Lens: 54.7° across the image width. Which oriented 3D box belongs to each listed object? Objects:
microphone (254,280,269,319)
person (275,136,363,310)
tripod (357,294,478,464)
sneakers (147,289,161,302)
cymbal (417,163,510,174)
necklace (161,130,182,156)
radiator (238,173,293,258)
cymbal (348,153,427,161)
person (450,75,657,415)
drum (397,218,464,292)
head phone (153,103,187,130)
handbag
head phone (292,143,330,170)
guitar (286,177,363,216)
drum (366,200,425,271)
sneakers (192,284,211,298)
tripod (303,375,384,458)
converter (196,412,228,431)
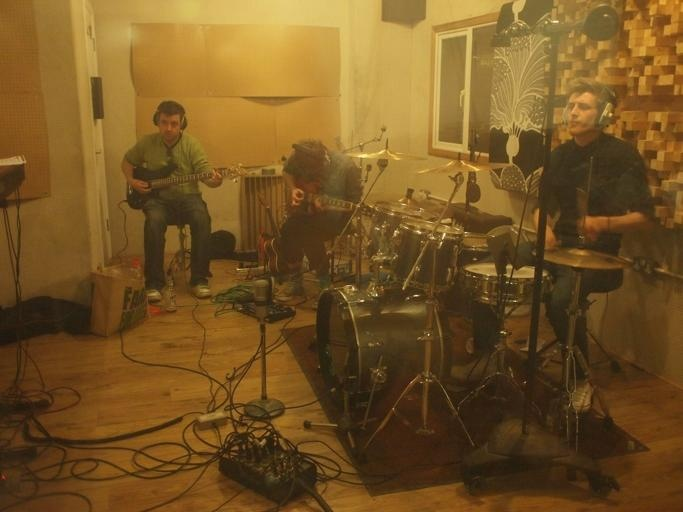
[{"bbox_3d":[-0.474,0.266,3.970,0.091,0.282,0.170,2,14,-5],"label":"microphone"},{"bbox_3d":[-0.214,-0.425,5.838,0.754,1.460,0.660,-26,49,-30],"label":"person"},{"bbox_3d":[0.574,0.683,3.924,0.662,0.852,0.508,7,-5,-40],"label":"tripod"},{"bbox_3d":[-1.646,0.346,5.808,0.117,0.090,0.173,-1,15,-16],"label":"sneakers"},{"bbox_3d":[0.968,-0.666,5.036,0.375,0.096,0.382,-3,9,-11],"label":"cymbal"},{"bbox_3d":[-1.572,-1.050,6.165,0.162,0.225,0.084,2,14,-3],"label":"necklace"},{"bbox_3d":[-0.869,-0.443,6.947,0.587,0.875,0.303,1,7,-4],"label":"radiator"},{"bbox_3d":[0.414,-0.887,5.914,0.351,0.079,0.346,-8,12,-42],"label":"cymbal"},{"bbox_3d":[1.571,-0.111,4.565,1.038,2.143,0.928,8,18,34],"label":"person"},{"bbox_3d":[0.505,-0.022,3.886,0.377,0.373,0.386,11,14,9],"label":"drum"},{"bbox_3d":[-1.591,-1.308,6.123,0.271,0.243,0.305,-2,15,-18],"label":"head phone"},{"bbox_3d":[-1.796,0.375,5.350,0.300,0.490,0.548,5,4,14],"label":"handbag"},{"bbox_3d":[-0.249,-0.835,5.377,0.239,0.091,0.187,25,1,-18],"label":"head phone"},{"bbox_3d":[-0.168,-0.502,5.473,0.500,0.253,0.334,10,-3,3],"label":"guitar"},{"bbox_3d":[0.363,-0.140,4.495,0.394,0.411,0.403,4,13,0],"label":"drum"},{"bbox_3d":[-1.262,0.319,5.964,0.144,0.088,0.223,-3,15,-22],"label":"sneakers"},{"bbox_3d":[-0.011,0.906,3.967,0.434,0.368,0.387,3,14,-1],"label":"tripod"},{"bbox_3d":[-0.804,1.009,4.072,0.115,0.043,0.117,-6,7,-20],"label":"converter"}]
